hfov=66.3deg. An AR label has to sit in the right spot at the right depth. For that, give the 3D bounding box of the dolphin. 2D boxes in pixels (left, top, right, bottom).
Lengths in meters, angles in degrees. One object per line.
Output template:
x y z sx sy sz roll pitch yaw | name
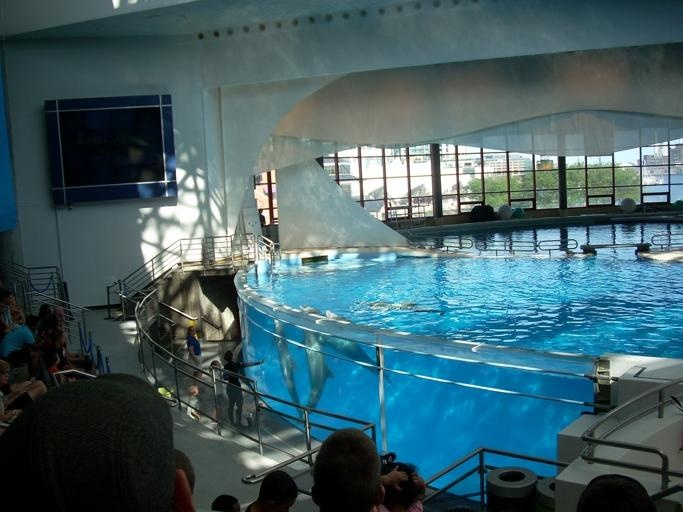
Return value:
-0.411 2.177 9.571 0.339 1.823 3.061 -7 7 -32 | dolphin

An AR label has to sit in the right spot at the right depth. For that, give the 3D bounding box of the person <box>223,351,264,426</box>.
-1.282 1.688 6.661 0.671 0.923 0.378 -11 -8 42 | person

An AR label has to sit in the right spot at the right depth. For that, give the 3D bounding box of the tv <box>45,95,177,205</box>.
-7.207 -3.429 16.452 3.626 3.267 0.217 -5 5 -12 | tv
